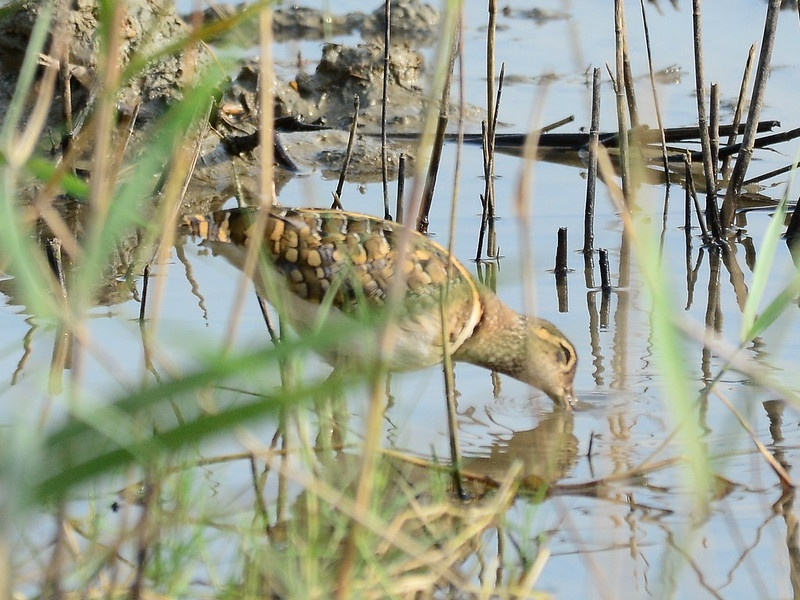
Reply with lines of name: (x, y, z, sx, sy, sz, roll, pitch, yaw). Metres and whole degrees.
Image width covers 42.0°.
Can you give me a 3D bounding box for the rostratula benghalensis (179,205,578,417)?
rostratula benghalensis: (-0.026, 0.052, 3.732, 1.164, 0.462, 0.390, 38, -4, -10)
